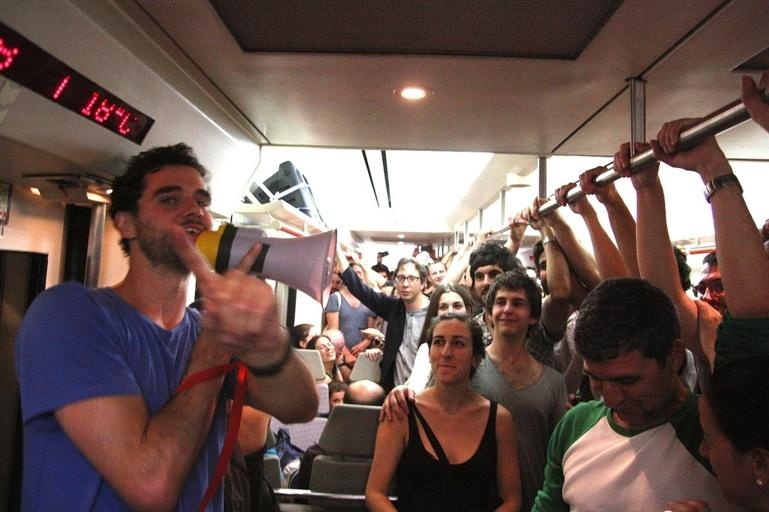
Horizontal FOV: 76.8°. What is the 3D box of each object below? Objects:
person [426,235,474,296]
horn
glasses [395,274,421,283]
[{"bbox_3d":[0.942,0.107,7.022,0.365,0.294,1.146,-53,-3,38],"label":"person"},{"bbox_3d":[-0.445,0.011,1.896,0.435,0.260,0.306,13,-11,-5],"label":"horn"},{"bbox_3d":[0.230,0.241,4.916,0.246,0.091,0.169,-1,-11,8],"label":"glasses"}]
